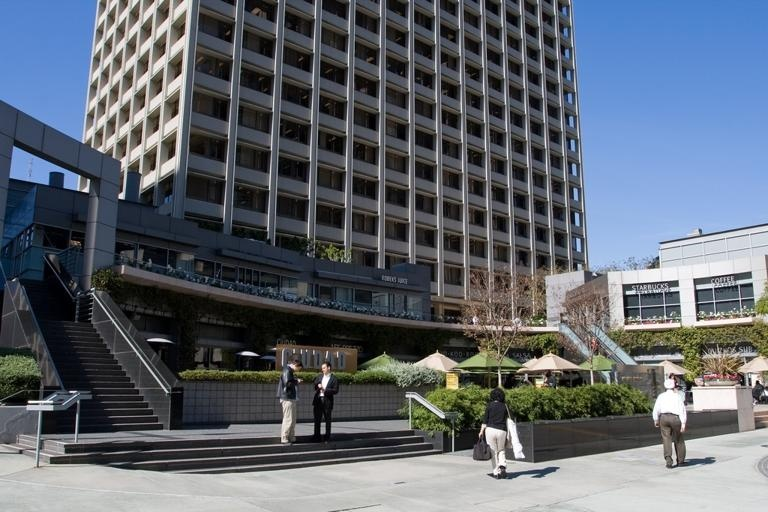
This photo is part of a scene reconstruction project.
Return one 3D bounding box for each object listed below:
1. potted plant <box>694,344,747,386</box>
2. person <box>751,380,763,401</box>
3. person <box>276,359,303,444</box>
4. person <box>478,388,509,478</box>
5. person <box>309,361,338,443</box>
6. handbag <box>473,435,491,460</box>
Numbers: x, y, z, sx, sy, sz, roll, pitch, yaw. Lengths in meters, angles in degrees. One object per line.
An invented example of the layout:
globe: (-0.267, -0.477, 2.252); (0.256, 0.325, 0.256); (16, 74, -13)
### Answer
potted plant: (17.324, 5.765, 33.862); (2.341, 1.573, 2.149); (-6, 6, 31)
person: (22.919, 8.228, 40.041); (0.637, 1.311, 1.513); (-8, -16, 28)
person: (-3.069, 4.644, 21.162); (0.708, 2.727, 1.170); (2, -14, -8)
person: (3.279, 5.162, 19.190); (0.781, 2.601, 0.890); (-5, -15, 19)
person: (-1.950, 4.729, 21.446); (0.716, 2.543, 1.512); (2, -14, -7)
handbag: (2.816, 5.527, 18.784); (0.476, 0.565, 0.424); (-2, -14, 7)
